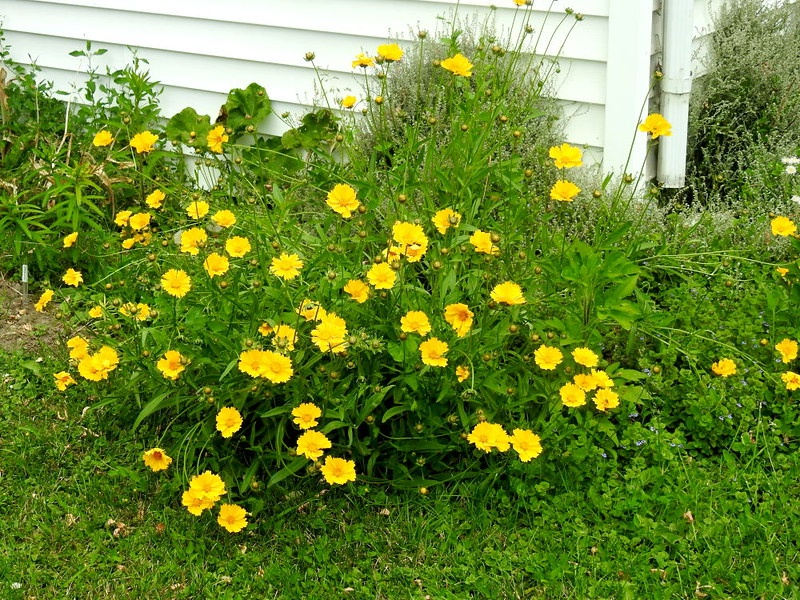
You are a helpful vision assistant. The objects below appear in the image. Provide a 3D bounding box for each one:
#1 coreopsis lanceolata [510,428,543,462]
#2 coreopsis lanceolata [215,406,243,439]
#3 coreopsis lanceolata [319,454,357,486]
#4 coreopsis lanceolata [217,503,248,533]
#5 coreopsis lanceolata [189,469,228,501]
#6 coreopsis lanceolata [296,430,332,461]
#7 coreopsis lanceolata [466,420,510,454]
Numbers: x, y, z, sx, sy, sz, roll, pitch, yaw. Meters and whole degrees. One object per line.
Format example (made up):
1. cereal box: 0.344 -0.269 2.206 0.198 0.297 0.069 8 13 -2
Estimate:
1. coreopsis lanceolata: 0.437 0.506 2.292 0.097 0.114 0.091 -4 16 -33
2. coreopsis lanceolata: -0.602 0.405 2.298 0.077 0.093 0.147 0 15 -19
3. coreopsis lanceolata: -0.215 0.566 2.245 0.095 0.081 0.111 -8 19 -42
4. coreopsis lanceolata: -0.583 0.727 2.276 0.108 0.114 0.048 0 -14 -4
5. coreopsis lanceolata: -0.658 0.621 2.236 0.099 0.109 0.039 -6 -5 -2
6. coreopsis lanceolata: -0.297 0.477 2.221 0.101 0.107 0.044 -24 -7 -13
7. coreopsis lanceolata: 0.316 0.485 2.301 0.113 0.121 0.052 -8 -34 7
